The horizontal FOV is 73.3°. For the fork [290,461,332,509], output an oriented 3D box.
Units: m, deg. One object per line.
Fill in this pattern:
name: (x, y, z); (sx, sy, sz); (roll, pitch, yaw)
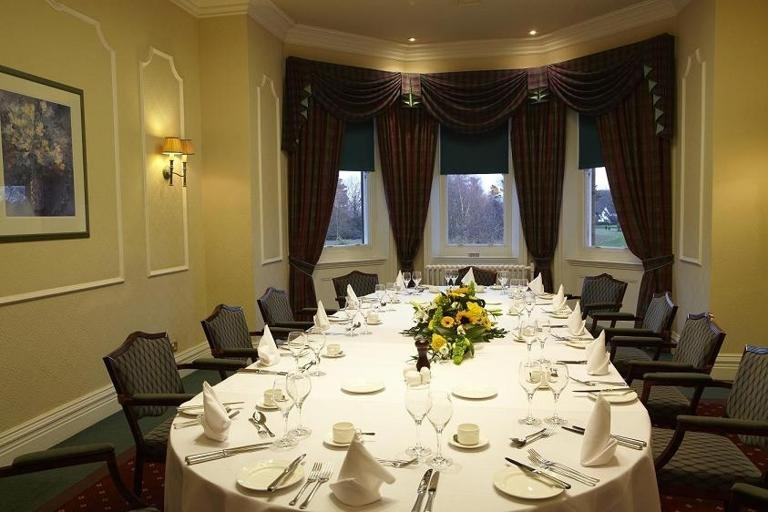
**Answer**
fork: (-0.378, 1.181, 2.650); (0.079, 0.033, 0.284); (5, 26, 18)

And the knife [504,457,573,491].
knife: (0.795, 1.144, 2.688); (0.239, 0.033, 0.035); (16, 34, 37)

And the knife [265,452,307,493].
knife: (-0.511, 1.143, 2.715); (0.053, 0.031, 0.382); (16, 14, 14)

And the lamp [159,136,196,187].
lamp: (-2.485, -1.156, 6.386); (0.325, 0.596, 0.575); (0, 8, 8)

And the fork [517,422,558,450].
fork: (0.886, 1.007, 2.967); (0.081, 0.082, 0.424); (1, 2, 29)

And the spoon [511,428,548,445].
spoon: (0.834, 1.036, 2.943); (0.269, 0.028, 0.079); (-4, 9, -23)

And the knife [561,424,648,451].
knife: (1.222, 1.022, 2.886); (0.506, 0.054, 0.107); (7, 8, 30)

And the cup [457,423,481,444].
cup: (0.464, 0.998, 2.895); (0.092, 0.064, 0.095); (1, -4, 0)
